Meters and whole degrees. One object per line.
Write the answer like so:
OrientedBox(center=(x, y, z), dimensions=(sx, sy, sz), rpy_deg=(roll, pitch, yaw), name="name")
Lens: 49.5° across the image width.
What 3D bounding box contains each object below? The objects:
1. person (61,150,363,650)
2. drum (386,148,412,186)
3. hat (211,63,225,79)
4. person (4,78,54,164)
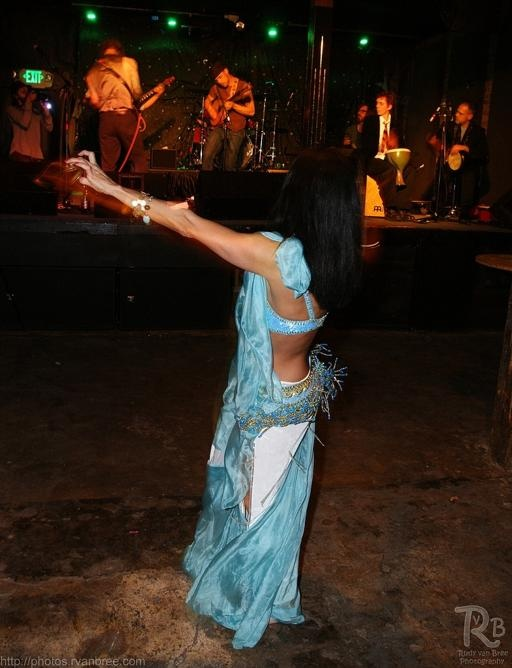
OrientedBox(center=(-0.046, 0.216, 1.593), dimensions=(0.578, 1.441, 0.454), rpy_deg=(6, 16, 8), name="person")
OrientedBox(center=(2.000, -2.380, 7.872), dimensions=(0.342, 0.525, 0.701), rpy_deg=(7, 15, 12), name="drum")
OrientedBox(center=(-0.648, -4.358, 9.199), dimensions=(0.209, 0.205, 0.323), rpy_deg=(4, 14, 1), name="hat")
OrientedBox(center=(-3.477, -3.211, 8.483), dimensions=(0.636, 1.114, 0.439), rpy_deg=(-3, 17, -23), name="person")
